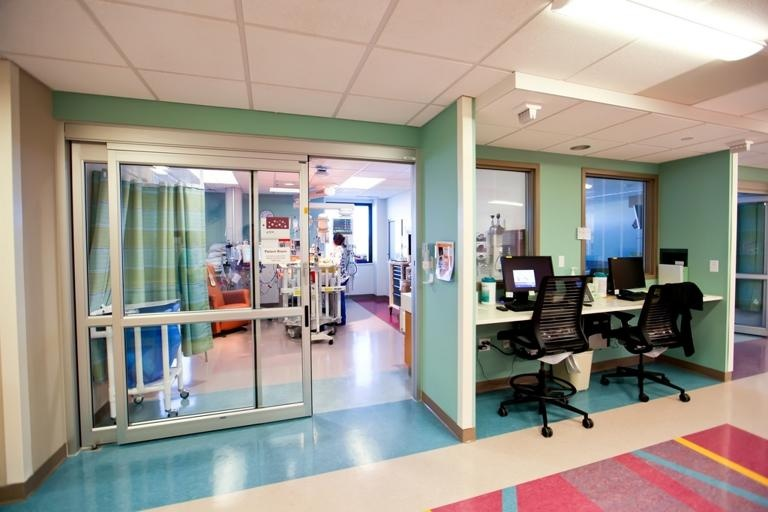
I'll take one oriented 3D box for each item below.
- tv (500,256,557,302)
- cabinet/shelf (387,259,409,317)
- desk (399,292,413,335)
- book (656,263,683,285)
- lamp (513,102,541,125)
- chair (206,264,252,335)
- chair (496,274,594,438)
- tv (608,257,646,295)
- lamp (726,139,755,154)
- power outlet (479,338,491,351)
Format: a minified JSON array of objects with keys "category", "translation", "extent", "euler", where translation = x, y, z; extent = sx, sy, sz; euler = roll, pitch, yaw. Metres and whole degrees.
[{"category":"tv","translation":[1.627,0.237,5.986],"extent":[0.717,0.456,0.140],"euler":[-1,-5,-25]},{"category":"cabinet/shelf","translation":[0.386,0.607,9.737],"extent":[0.467,0.984,1.051],"euler":[10,-9,-3]},{"category":"desk","translation":[0.330,0.731,6.517],"extent":[0.235,0.350,0.399],"euler":[9,4,2]},{"category":"book","translation":[3.571,0.215,6.574],"extent":[0.127,0.243,0.261],"euler":[0,6,-22]},{"category":"lamp","translation":[1.416,-1.373,5.069],"extent":[0.145,0.097,0.214],"euler":[-1,4,-10]},{"category":"chair","translation":[-2.060,0.597,7.055],"extent":[0.518,1.039,2.233],"euler":[-4,3,-16]},{"category":"chair","translation":[1.753,0.946,5.551],"extent":[1.061,1.508,0.943],"euler":[3,2,29]},{"category":"tv","translation":[2.912,0.230,6.357],"extent":[0.472,0.321,0.172],"euler":[0,-8,-26]},{"category":"lamp","translation":[4.018,-1.239,5.937],"extent":[0.241,0.115,0.226],"euler":[-1,3,33]},{"category":"power outlet","translation":[1.134,0.992,5.921],"extent":[0.159,0.143,0.047],"euler":[-4,3,-28]}]
